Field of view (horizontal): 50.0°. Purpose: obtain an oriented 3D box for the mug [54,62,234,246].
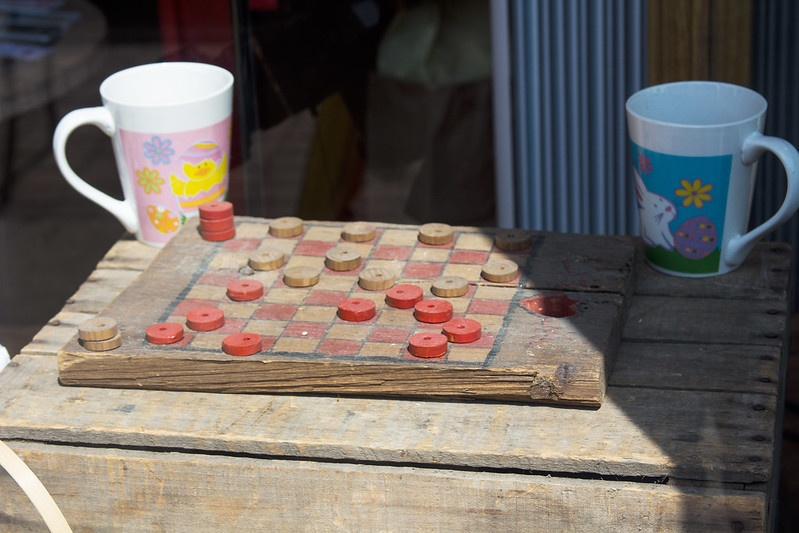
[{"bbox_3d":[-0.409,-0.238,1.612,0.399,0.320,0.253,-15,38,-24],"label":"mug"}]
